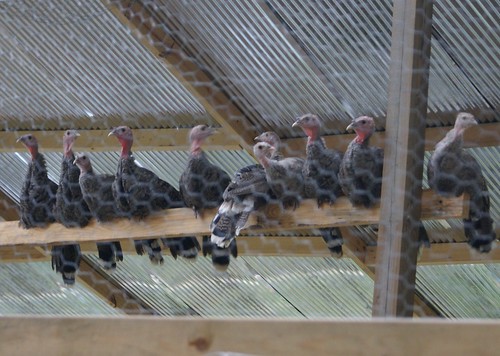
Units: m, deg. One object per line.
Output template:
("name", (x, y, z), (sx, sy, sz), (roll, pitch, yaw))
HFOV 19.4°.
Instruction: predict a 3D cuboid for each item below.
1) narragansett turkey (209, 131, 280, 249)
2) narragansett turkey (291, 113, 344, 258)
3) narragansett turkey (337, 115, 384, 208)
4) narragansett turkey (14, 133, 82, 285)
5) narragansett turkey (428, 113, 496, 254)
("narragansett turkey", (-0.022, 0.099, 10.399), (0.274, 0.491, 0.777), (5, 32, 42))
("narragansett turkey", (0.509, 0.096, 10.453), (0.330, 1.066, 0.394), (-4, 30, 0))
("narragansett turkey", (0.779, -0.107, 10.207), (0.311, 0.564, 0.341), (0, 29, 6))
("narragansett turkey", (-1.527, 0.207, 11.053), (0.391, 0.712, 1.060), (-18, 58, -21))
("narragansett turkey", (1.454, 0.057, 10.144), (0.384, 0.949, 0.450), (-15, 31, -19))
